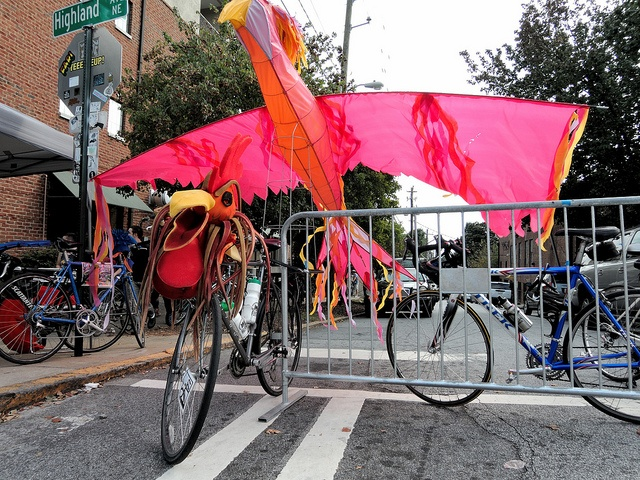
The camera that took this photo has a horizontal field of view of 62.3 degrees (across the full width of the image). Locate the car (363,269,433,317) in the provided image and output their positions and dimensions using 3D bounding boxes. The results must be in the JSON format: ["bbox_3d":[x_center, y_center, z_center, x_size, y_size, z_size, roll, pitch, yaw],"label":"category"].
[{"bbox_3d":[1.512,1.385,12.492,1.050,0.955,1.910,-2,-14,9],"label":"car"}]

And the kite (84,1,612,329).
[{"bbox_3d":[0.993,-1.294,6.497,4.969,1.596,3.924,-8,-41,25],"label":"kite"}]
